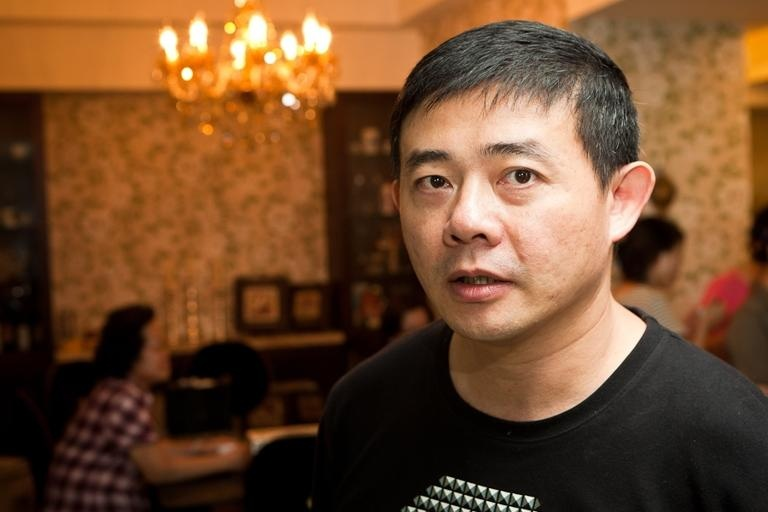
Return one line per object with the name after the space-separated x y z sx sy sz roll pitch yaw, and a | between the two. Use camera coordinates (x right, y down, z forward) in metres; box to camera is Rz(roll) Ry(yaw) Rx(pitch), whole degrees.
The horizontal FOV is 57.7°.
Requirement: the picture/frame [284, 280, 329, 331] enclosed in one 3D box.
-0.358 0.221 3.191 0.208 0.194 0.192 2 9 -7 | picture/frame

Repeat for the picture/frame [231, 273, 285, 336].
-0.515 0.211 3.007 0.256 0.229 0.058 2 0 -22 | picture/frame
